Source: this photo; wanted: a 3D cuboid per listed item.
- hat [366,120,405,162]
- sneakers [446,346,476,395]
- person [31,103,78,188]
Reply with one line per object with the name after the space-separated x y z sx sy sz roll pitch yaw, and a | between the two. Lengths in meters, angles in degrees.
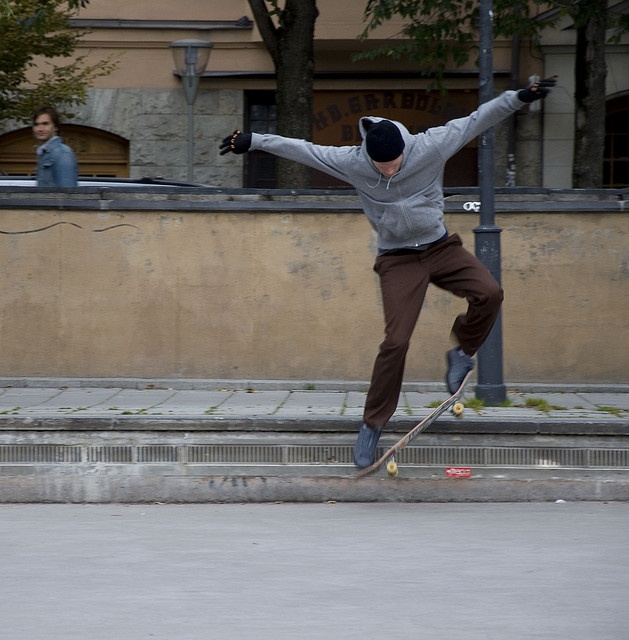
0.513 -1.325 12.391 0.290 0.325 0.209 -1 2 2 | hat
1.117 0.370 13.060 0.221 0.383 0.169 21 6 9 | sneakers
-2.348 -1.563 15.297 0.362 0.706 0.603 -2 2 -8 | person
